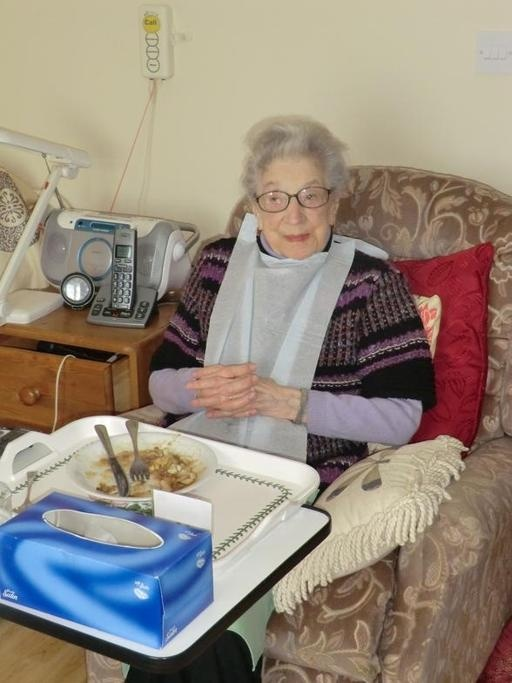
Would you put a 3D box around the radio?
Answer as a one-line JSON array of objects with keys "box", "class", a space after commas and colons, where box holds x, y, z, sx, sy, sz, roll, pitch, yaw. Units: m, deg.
[{"box": [-0.402, -0.267, 1.752, 0.443, 0.217, 0.254, 12, 23, 21], "class": "radio"}]

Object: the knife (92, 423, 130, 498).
[{"box": [-0.189, 0.163, 0.774, 0.029, 0.023, 0.235, -8, 17, -21], "class": "knife"}]
